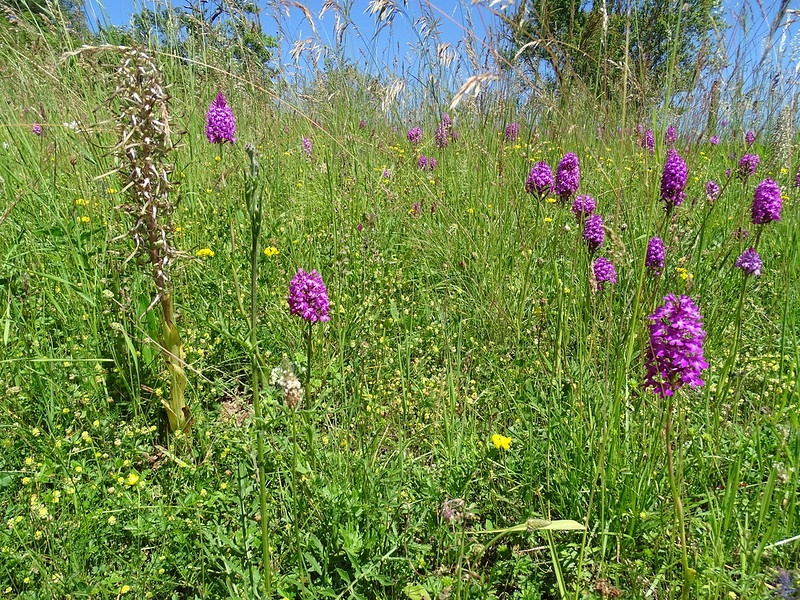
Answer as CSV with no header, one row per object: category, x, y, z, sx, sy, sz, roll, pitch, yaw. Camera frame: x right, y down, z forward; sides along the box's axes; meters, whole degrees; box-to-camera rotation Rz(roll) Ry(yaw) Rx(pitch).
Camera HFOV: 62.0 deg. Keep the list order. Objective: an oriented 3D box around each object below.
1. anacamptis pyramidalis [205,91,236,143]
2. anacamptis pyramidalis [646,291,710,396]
anacamptis pyramidalis,-1.112,-1.104,4.092,0.165,0.359,0.210,-5,30,-15
anacamptis pyramidalis,1.102,0.201,2.661,0.215,0.369,0.237,4,29,2
